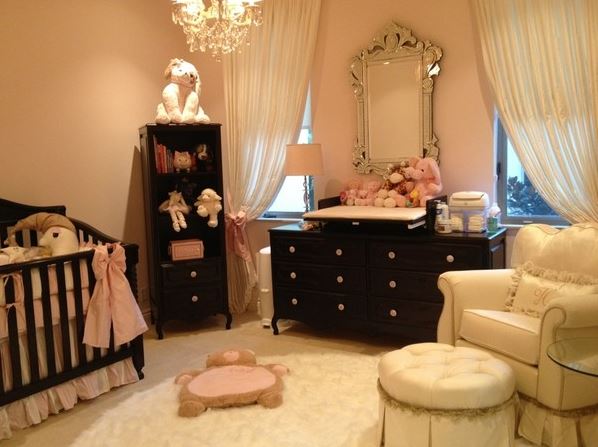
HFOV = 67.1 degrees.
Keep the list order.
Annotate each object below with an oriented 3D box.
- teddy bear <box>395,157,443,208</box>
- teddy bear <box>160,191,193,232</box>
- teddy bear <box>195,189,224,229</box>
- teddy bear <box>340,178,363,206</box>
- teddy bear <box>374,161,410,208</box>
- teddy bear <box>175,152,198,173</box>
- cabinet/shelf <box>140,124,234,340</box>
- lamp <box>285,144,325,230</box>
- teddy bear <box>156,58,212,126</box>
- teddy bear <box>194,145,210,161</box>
[{"bbox_3d":[0.995,-0.336,3.644,0.270,0.407,0.297,-2,8,-42],"label":"teddy bear"},{"bbox_3d":[-1.066,-0.128,3.984,0.257,0.211,0.419,-5,34,-28],"label":"teddy bear"},{"bbox_3d":[-0.799,-0.148,4.044,0.307,0.439,0.227,1,-5,8],"label":"teddy bear"},{"bbox_3d":[0.455,-0.268,3.919,0.166,0.242,0.109,9,-11,46],"label":"teddy bear"},{"bbox_3d":[0.819,-0.330,3.720,0.276,0.376,0.223,13,33,22],"label":"teddy bear"},{"bbox_3d":[-1.016,-0.550,4.044,0.144,0.157,0.197,1,2,-17],"label":"teddy bear"},{"bbox_3d":[-0.953,0.038,4.079,0.693,1.879,0.532,-4,11,-20],"label":"cabinet/shelf"},{"bbox_3d":[0.063,-0.343,3.956,0.326,0.700,0.517,0,9,14],"label":"lamp"},{"bbox_3d":[-1.000,-1.149,3.926,0.418,0.571,0.367,0,15,-19],"label":"teddy bear"},{"bbox_3d":[-0.868,-0.643,4.068,0.112,0.139,0.116,-3,5,-33],"label":"teddy bear"}]
